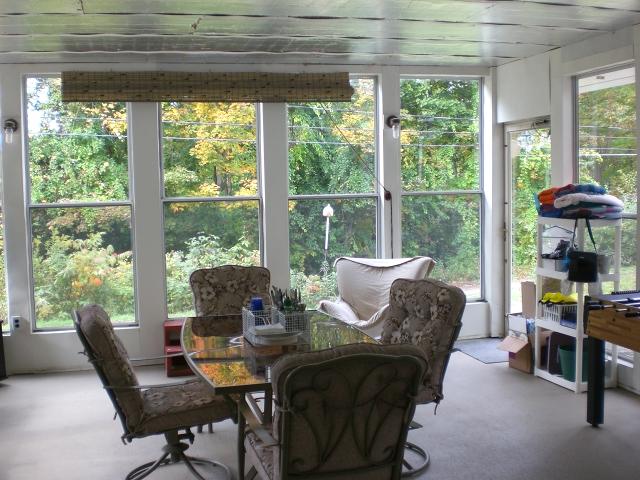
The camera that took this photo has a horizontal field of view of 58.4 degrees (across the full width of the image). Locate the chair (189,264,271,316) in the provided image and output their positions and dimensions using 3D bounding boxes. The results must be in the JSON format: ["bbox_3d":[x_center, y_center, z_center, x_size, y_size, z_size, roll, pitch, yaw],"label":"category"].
[{"bbox_3d":[-0.839,0.454,5.289,0.530,0.632,0.548,0,-7,-14],"label":"chair"}]

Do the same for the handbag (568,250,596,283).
[{"bbox_3d":[2.173,0.225,4.790,0.274,0.252,0.254,0,-4,0],"label":"handbag"}]

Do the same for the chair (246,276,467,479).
[{"bbox_3d":[0.010,0.892,4.270,1.292,1.641,1.177,-2,-2,-27],"label":"chair"}]

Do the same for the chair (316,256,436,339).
[{"bbox_3d":[0.588,0.490,5.780,0.996,0.860,0.850,-4,-20,20],"label":"chair"}]

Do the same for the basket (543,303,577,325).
[{"bbox_3d":[2.259,0.690,5.369,0.186,0.181,0.315,1,-5,6],"label":"basket"}]

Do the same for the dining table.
[{"bbox_3d":[-0.242,0.724,3.725,1.135,0.686,1.508,-2,6,-22],"label":"dining table"}]
